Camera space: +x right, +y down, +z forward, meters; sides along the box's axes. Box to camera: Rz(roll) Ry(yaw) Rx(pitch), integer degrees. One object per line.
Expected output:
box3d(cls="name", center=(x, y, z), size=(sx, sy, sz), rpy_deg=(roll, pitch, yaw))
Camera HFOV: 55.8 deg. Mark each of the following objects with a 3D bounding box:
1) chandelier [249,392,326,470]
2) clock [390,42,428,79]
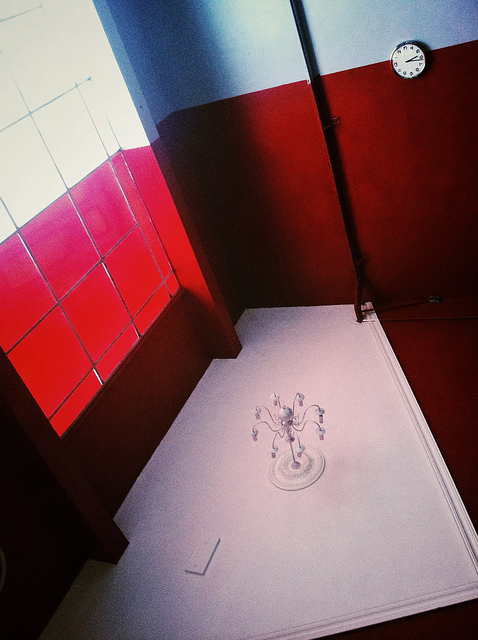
box3d(cls="chandelier", center=(0.384, 0.782, 3.481), size=(0.463, 0.658, 0.726), rpy_deg=(-4, -53, 12))
box3d(cls="clock", center=(1.302, -1.985, 3.450), size=(0.269, 0.186, 0.172), rpy_deg=(-15, -17, 34))
